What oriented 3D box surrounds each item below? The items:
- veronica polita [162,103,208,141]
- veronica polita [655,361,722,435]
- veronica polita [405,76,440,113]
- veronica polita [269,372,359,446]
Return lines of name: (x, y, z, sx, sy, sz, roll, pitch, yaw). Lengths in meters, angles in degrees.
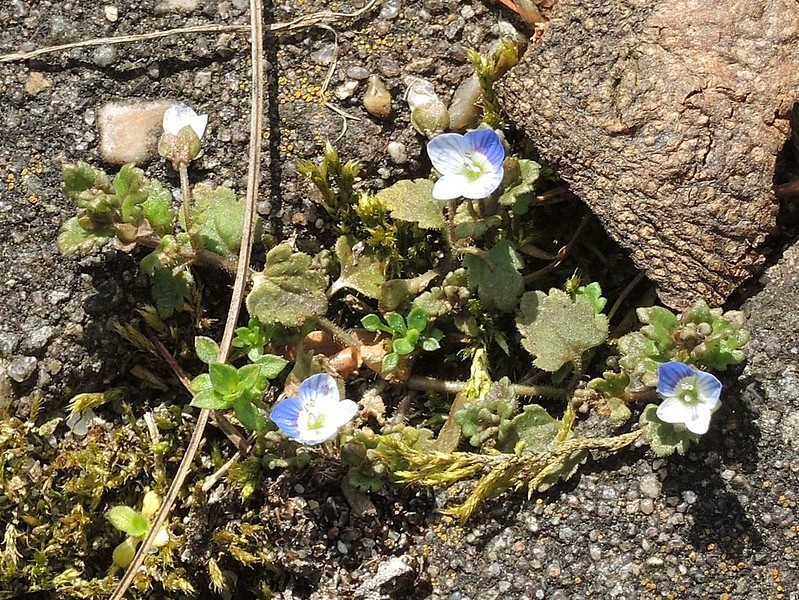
veronica polita: (-0.878, -0.706, 3.304, 0.179, 0.117, 0.193, 5, 49, -16)
veronica polita: (0.966, 0.309, 2.706, 0.228, 0.134, 0.188, 3, 23, -23)
veronica polita: (0.089, -0.866, 3.404, 0.129, 0.082, 0.143, 7, 48, -15)
veronica polita: (-0.321, 0.384, 2.877, 0.233, 0.137, 0.293, -9, 14, -8)
